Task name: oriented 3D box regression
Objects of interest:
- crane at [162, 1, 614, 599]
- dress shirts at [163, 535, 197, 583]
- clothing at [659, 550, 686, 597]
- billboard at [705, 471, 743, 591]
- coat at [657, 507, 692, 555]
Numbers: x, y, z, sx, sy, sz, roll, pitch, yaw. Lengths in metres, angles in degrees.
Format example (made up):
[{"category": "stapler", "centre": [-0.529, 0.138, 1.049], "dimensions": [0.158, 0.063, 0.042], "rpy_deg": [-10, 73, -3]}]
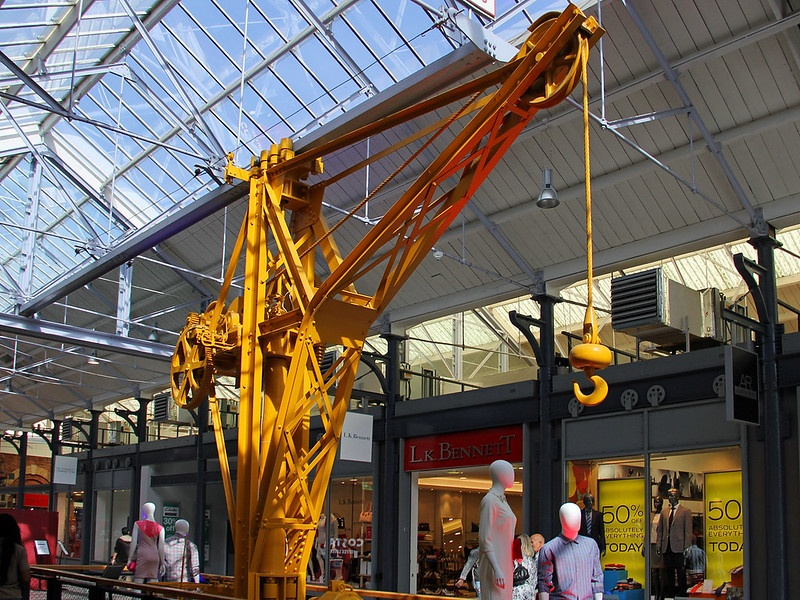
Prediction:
[{"category": "crane", "centre": [-0.658, 0.303, 20.146], "dimensions": [2.384, 8.747, 8.701], "rpy_deg": [16, -24, -39]}, {"category": "dress shirts", "centre": [-4.032, 4.729, 22.211], "dimensions": [0.829, 0.837, 0.330], "rpy_deg": [-1, -10, 1]}, {"category": "clothing", "centre": [5.868, 5.868, 26.133], "dimensions": [0.500, 0.941, 0.427], "rpy_deg": [-3, -19, 12]}, {"category": "billboard", "centre": [6.751, 4.771, 25.520], "dimensions": [0.435, 2.335, 1.215], "rpy_deg": [17, -24, -39]}, {"category": "coat", "centre": [5.903, 4.907, 26.350], "dimensions": [0.691, 1.053, 0.424], "rpy_deg": [-2, -17, 27]}]
